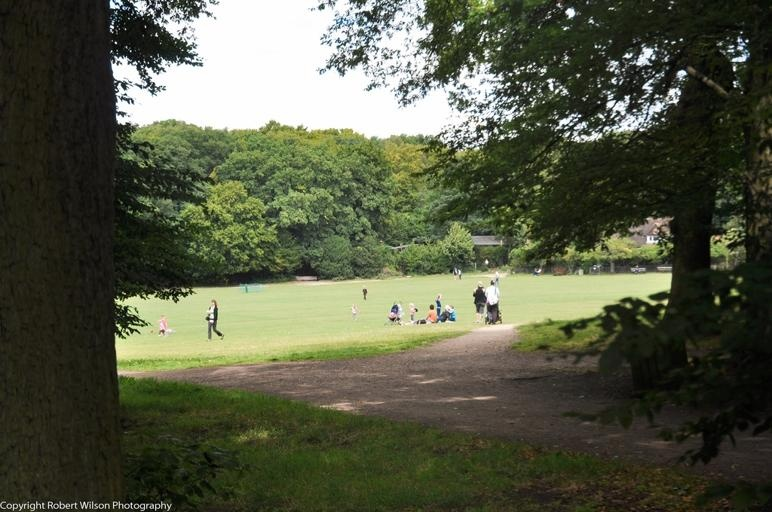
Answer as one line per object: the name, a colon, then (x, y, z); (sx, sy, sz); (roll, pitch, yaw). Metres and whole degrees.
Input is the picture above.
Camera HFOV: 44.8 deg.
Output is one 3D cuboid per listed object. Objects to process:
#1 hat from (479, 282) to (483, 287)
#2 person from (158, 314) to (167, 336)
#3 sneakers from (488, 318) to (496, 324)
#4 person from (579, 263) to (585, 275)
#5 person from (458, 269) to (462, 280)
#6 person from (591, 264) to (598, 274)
hat: (3.506, 1.077, 34.587); (0.182, 0.106, 0.240); (-2, -3, 7)
person: (-8.490, 2.696, 35.850); (0.313, 0.713, 1.413); (-1, -4, -14)
sneakers: (3.704, 2.310, 32.925); (0.151, 0.193, 0.074); (0, -13, 18)
person: (18.590, 1.267, 89.308); (0.511, 0.850, 1.420); (-3, -4, 12)
person: (7.078, 1.824, 90.016); (0.266, 0.838, 0.242); (-8, -17, 8)
person: (19.859, 1.252, 89.015); (0.756, 0.835, 1.162); (-3, -4, 10)
